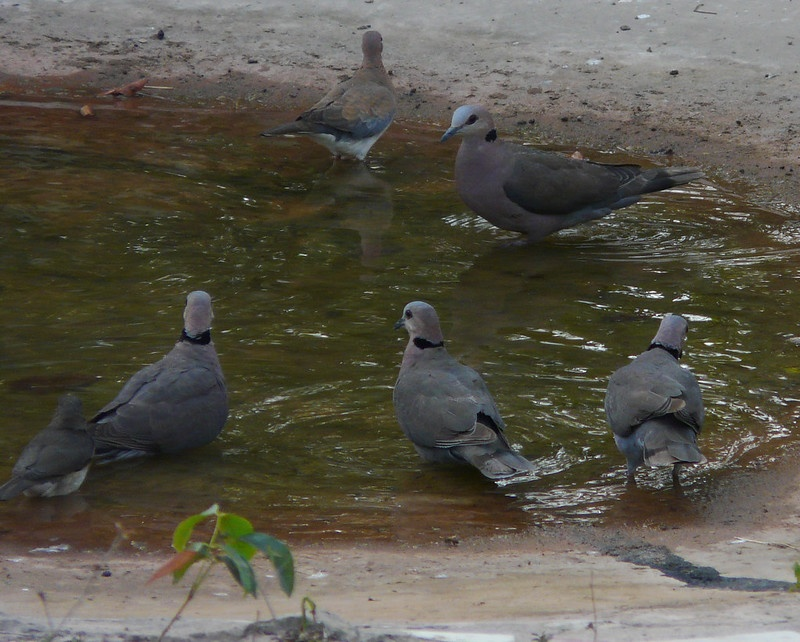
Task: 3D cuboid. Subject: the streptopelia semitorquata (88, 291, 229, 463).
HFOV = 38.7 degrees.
[{"bbox_3d":[-1.671,0.420,8.270,0.697,1.218,0.957,7,10,26],"label":"streptopelia semitorquata"}]
